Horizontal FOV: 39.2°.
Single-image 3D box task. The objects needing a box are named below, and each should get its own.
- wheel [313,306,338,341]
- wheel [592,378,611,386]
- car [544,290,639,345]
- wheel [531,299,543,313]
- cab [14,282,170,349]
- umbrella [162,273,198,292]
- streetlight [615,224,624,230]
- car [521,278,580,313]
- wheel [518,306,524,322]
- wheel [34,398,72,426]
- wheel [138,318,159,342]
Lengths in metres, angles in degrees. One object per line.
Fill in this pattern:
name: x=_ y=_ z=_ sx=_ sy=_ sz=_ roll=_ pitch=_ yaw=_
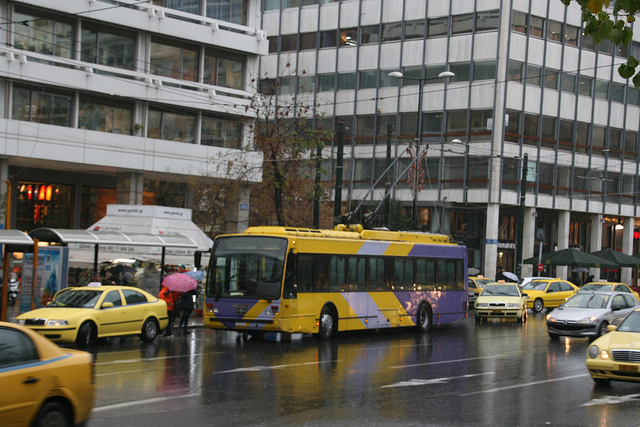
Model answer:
wheel: x=0.170 y=4.266 z=34.610 sx=0.416 sy=1.313 sz=1.247 roll=-10 pitch=-4 yaw=33
wheel: x=8.542 y=5.092 z=27.089 sx=0.281 sy=0.103 sz=0.298 roll=0 pitch=-4 yaw=0
car: x=10.789 y=4.122 z=35.483 sx=2.014 sy=1.895 sz=5.178 roll=-2 pitch=-3 yaw=45
wheel: x=12.133 y=5.105 z=49.976 sx=0.237 sy=0.799 sz=0.750 roll=3 pitch=3 yaw=40
cab: x=-8.164 y=3.684 z=32.853 sx=2.662 sy=2.141 sz=5.879 roll=-3 pitch=-4 yaw=30
umbrella: x=-5.382 y=2.718 z=34.595 sx=1.204 sy=0.701 sz=0.748 roll=3 pitch=7 yaw=-11
streetlight: x=25.879 y=1.158 z=77.352 sx=0.518 sy=0.548 sz=0.821 roll=5 pitch=7 yaw=4
car: x=13.085 y=4.622 z=51.780 sx=5.041 sy=1.757 sz=2.270 roll=2 pitch=-2 yaw=-34
wheel: x=9.828 y=4.870 z=43.727 sx=0.210 sy=0.713 sz=0.675 roll=1 pitch=9 yaw=6
wheel: x=-6.272 y=4.663 z=20.999 sx=0.598 sy=0.639 sz=0.223 roll=9 pitch=-16 yaw=-39
wheel: x=-6.306 y=4.253 z=33.064 sx=0.263 sy=0.893 sz=0.846 roll=-5 pitch=-7 yaw=33
